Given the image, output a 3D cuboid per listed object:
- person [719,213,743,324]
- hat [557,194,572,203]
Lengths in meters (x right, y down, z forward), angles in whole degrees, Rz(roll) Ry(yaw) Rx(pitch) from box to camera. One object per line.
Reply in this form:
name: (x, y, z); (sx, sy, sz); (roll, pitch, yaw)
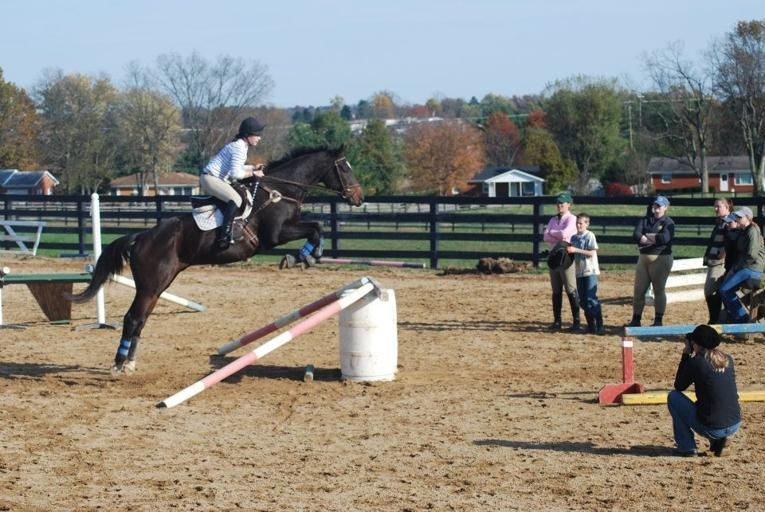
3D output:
person: (15.277, 0.142, 69.691); (1.201, 4.262, 1.450); (7, 1, 23)
hat: (8.015, -2.588, 70.048); (0.582, 0.420, 0.754); (-1, 5, 3)
